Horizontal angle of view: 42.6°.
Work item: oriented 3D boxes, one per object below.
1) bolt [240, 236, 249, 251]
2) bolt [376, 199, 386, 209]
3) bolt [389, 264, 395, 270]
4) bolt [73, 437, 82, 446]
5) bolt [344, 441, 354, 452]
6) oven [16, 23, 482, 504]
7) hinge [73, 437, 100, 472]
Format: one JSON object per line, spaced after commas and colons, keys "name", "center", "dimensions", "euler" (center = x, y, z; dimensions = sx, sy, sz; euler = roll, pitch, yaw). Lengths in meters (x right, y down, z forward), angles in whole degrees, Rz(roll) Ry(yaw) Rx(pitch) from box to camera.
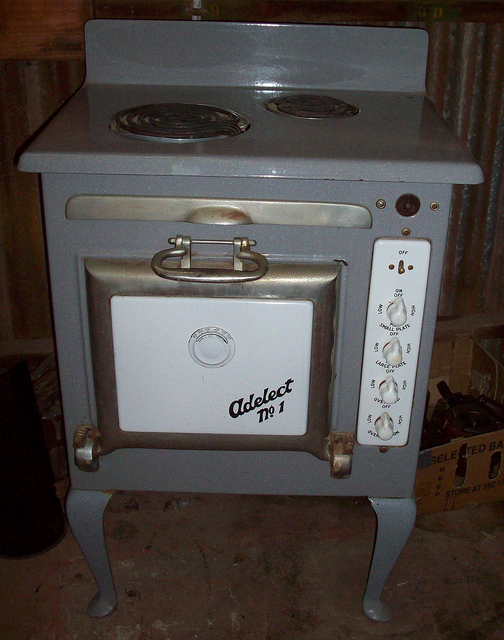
{"name": "bolt", "center": [-0.010, -0.110, 0.943], "dimensions": [0.018, 0.016, 0.017], "euler": [3, 6, -15]}
{"name": "bolt", "center": [0.189, -0.170, 0.942], "dimensions": [0.014, 0.014, 0.003], "euler": [-7, 33, -10]}
{"name": "bolt", "center": [0.211, -0.081, 0.972], "dimensions": [0.008, 0.007, 0.002], "euler": [5, 11, -1]}
{"name": "bolt", "center": [-0.293, 0.203, 1.083], "dimensions": [0.014, 0.008, 0.012], "euler": [5, 5, 13]}
{"name": "bolt", "center": [0.162, 0.212, 1.083], "dimensions": [0.019, 0.022, 0.003], "euler": [13, 21, 1]}
{"name": "oven", "center": [0.018, -0.020, 1.188], "dimensions": [0.699, 0.594, 0.473], "euler": [3, 13, 11]}
{"name": "hinge", "center": [-0.287, 0.225, 1.136], "dimensions": [0.062, 0.064, 0.097], "euler": [0, -2, -15]}
